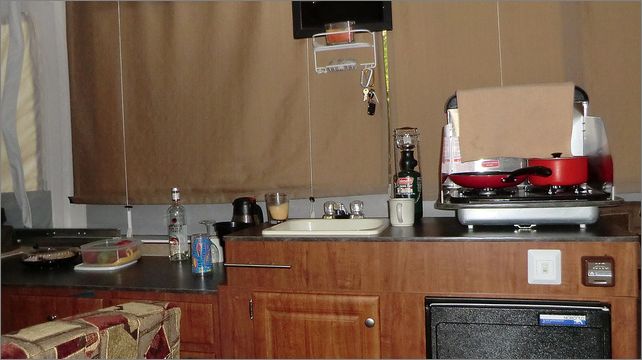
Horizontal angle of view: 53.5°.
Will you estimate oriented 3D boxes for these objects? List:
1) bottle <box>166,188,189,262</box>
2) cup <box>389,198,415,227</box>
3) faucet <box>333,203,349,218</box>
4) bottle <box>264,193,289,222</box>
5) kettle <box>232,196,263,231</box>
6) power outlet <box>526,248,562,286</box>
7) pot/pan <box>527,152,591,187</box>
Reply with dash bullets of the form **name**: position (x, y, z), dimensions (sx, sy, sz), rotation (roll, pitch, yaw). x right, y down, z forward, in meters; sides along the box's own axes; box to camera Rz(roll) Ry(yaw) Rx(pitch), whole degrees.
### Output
- **bottle**: position (-1.027, 0.315, 4.571), dimensions (0.140, 0.508, 0.343), rotation (-2, -1, -11)
- **cup**: position (0.502, 0.209, 4.022), dimensions (0.133, 0.133, 0.199), rotation (-1, -1, 9)
- **faucet**: position (0.130, 0.211, 4.415), dimensions (0.097, 0.088, 0.048), rotation (1, -13, -7)
- **bottle**: position (-0.302, 0.184, 4.387), dimensions (0.190, 0.196, 0.180), rotation (0, -1, -17)
- **kettle**: position (-0.515, 0.217, 4.565), dimensions (0.214, 0.203, 0.166), rotation (3, 0, 6)
- **power outlet**: position (1.306, 0.507, 3.740), dimensions (0.206, 0.195, 0.091), rotation (2, 3, 11)
- **pot/pan**: position (1.509, -0.058, 4.048), dimensions (0.257, 0.157, 0.252), rotation (0, -1, 9)
